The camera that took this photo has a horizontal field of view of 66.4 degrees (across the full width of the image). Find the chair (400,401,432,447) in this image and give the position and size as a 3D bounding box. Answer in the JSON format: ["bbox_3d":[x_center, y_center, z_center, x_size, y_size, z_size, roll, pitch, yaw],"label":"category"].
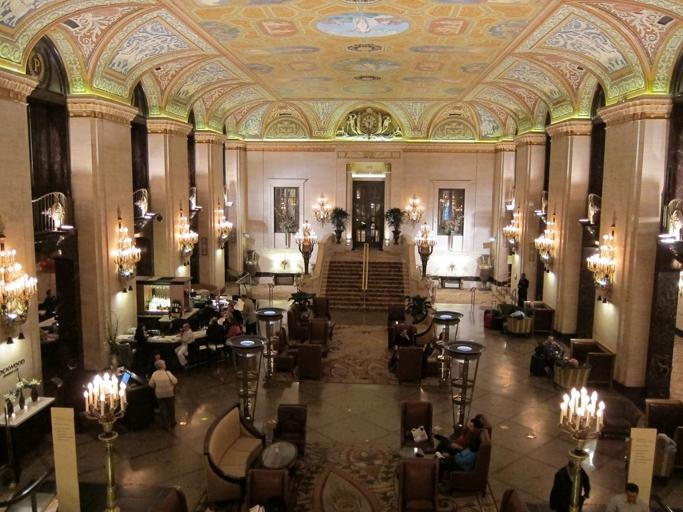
[{"bbox_3d":[1.478,3.323,10.280,0.620,0.783,0.575,0,5,6],"label":"chair"}]

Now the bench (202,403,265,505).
[{"bbox_3d":[-1.908,3.616,9.339,0.524,0.548,1.420,-2,14,1],"label":"bench"}]

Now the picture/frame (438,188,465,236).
[{"bbox_3d":[5.335,-2.179,25.355,1.187,2.278,0.179,0,5,4],"label":"picture/frame"}]

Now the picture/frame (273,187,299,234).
[{"bbox_3d":[-2.637,-2.279,25.598,1.182,2.191,0.255,-1,5,-7],"label":"picture/frame"}]

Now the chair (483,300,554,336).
[{"bbox_3d":[6.184,2.122,17.809,1.608,0.738,1.202,0,1,-13],"label":"chair"}]

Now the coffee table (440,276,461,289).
[{"bbox_3d":[5.238,1.268,25.002,0.980,0.468,0.958,0,5,7],"label":"coffee table"}]

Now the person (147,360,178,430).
[{"bbox_3d":[-3.888,3.018,11.494,0.538,1.508,0.718,-3,6,-20],"label":"person"}]

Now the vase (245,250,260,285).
[{"bbox_3d":[-4.280,0.488,25.382,0.635,1.585,1.146,-1,5,-7],"label":"vase"}]
